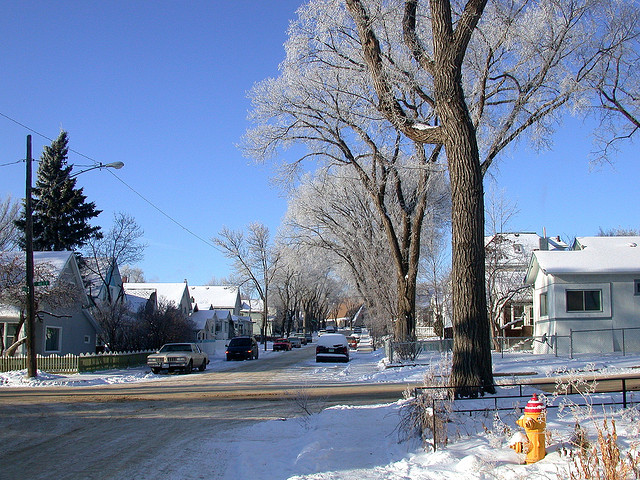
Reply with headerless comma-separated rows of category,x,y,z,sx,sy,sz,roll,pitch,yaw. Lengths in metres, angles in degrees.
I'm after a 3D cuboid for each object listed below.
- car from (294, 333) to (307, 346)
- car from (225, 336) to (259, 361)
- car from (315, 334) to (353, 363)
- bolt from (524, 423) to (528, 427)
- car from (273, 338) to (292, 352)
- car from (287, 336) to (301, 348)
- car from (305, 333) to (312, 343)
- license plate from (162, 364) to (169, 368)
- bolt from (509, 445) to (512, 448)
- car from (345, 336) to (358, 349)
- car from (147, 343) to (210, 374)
car,-2.329,13.043,85.089,1.076,1.071,2.842,0,-1,1
car,-5.373,7.699,46.055,2.324,1.771,1.772,5,-12,-29
car,0.749,6.532,39.115,1.854,1.670,0.926,-1,-9,-3
bolt,4.225,3.829,13.422,0.081,0.078,0.041,-10,-13,37
car,-3.596,10.426,64.076,1.461,1.244,2.435,-3,-12,6
car,-2.801,11.293,71.041,1.134,1.224,3.113,-1,-14,2
car,-1.659,14.849,97.420,1.220,1.177,2.294,0,-12,-2
license plate,-7.945,6.592,33.829,0.441,0.166,0.183,-8,-13,26
bolt,4.065,4.450,13.977,0.035,0.030,0.050,2,-26,0
car,3.522,11.247,71.721,1.433,1.583,3.446,-1,-18,4
car,-7.598,6.575,35.894,2.256,1.722,4.785,-2,-9,2
